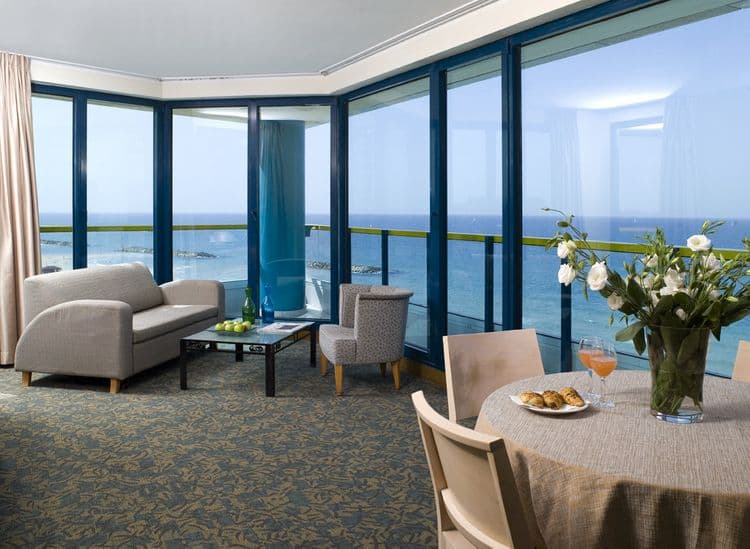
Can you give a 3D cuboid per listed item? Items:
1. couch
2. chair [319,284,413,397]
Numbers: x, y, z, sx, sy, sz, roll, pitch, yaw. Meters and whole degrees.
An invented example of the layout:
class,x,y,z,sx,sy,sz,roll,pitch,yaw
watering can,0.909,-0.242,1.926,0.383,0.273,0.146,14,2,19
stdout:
class,x,y,z,sx,sy,sz,roll,pitch,yaw
couch,-2.533,0.452,5.311,1.189,1.013,1.742,2,8,12
chair,-0.074,0.615,5.026,0.901,0.918,0.957,0,3,-12
